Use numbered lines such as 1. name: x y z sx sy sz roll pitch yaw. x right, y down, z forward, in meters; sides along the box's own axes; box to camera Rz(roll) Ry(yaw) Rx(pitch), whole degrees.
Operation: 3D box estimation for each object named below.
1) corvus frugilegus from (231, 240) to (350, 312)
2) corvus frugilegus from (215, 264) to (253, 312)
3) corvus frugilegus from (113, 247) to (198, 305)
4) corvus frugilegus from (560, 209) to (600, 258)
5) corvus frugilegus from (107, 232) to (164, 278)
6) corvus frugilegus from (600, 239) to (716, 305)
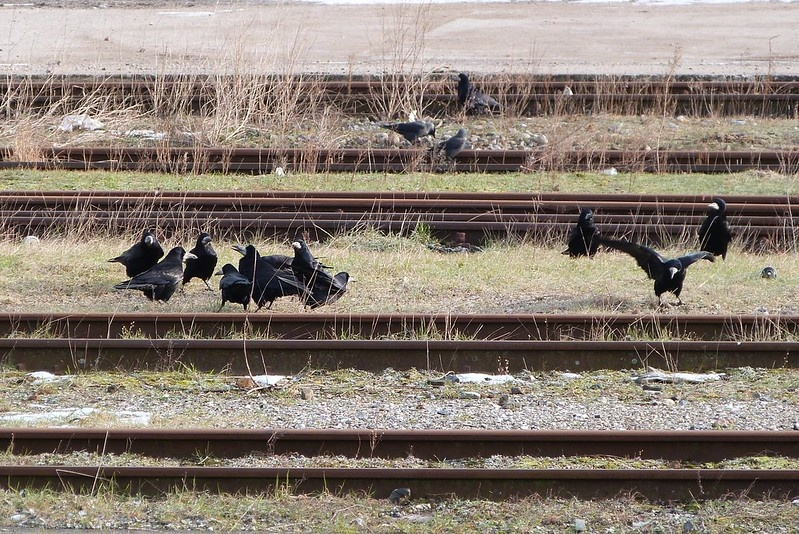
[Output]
1. corvus frugilegus: -1.680 0.177 25.463 2.389 1.143 0.776 3 2 6
2. corvus frugilegus: -2.667 0.348 25.642 0.519 0.739 0.573 -4 13 -10
3. corvus frugilegus: -3.984 0.165 25.877 1.415 0.923 0.655 1 0 -34
4. corvus frugilegus: 3.167 -0.540 27.060 0.663 0.893 0.476 3 14 20
5. corvus frugilegus: -4.402 -0.187 26.170 0.896 0.665 0.402 4 8 29
6. corvus frugilegus: 4.275 0.095 25.655 1.505 1.092 0.675 5 15 26
